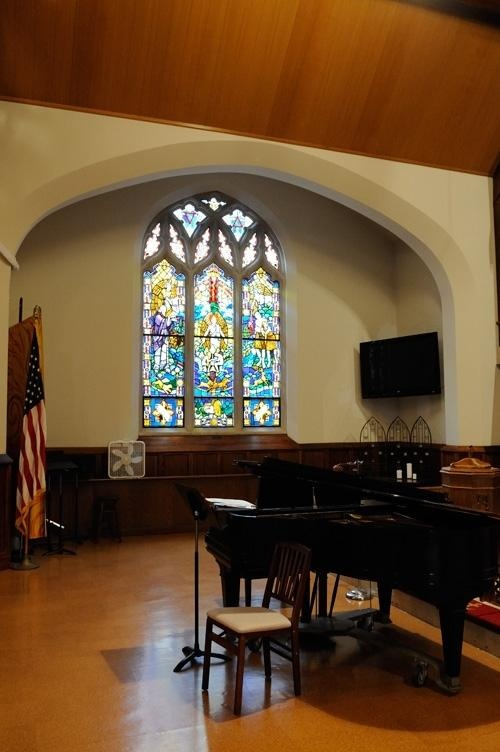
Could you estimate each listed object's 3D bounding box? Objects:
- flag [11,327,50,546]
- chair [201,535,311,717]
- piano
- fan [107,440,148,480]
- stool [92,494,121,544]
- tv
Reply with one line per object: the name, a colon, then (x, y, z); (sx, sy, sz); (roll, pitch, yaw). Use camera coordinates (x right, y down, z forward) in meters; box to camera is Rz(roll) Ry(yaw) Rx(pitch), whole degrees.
flag: (-2.089, 0.479, 5.869); (0.265, 2.066, 0.358); (2, -6, -22)
chair: (0.042, 1.177, 2.931); (0.396, 0.718, 0.392); (6, -9, -21)
piano: (0.581, 0.829, 3.184); (1.087, 0.858, 1.114); (9, -12, -29)
fan: (-1.455, 0.976, 7.156); (0.406, 0.428, 0.196); (3, -6, -27)
stool: (-1.657, 1.643, 7.050); (0.321, 0.499, 0.410); (2, -6, -15)
tv: (2.107, -0.139, 8.474); (0.087, 0.690, 0.852); (2, -5, -34)
